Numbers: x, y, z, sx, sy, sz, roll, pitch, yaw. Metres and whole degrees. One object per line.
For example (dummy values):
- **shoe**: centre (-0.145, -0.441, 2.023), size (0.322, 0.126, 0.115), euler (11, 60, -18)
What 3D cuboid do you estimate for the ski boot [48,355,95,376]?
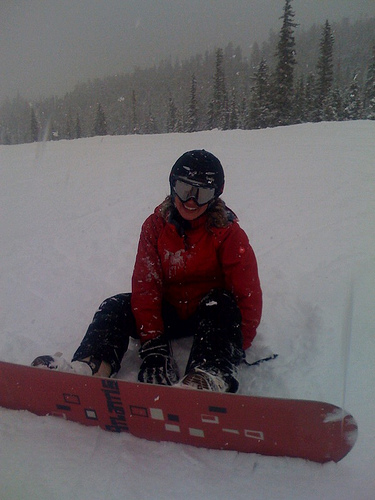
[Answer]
- **ski boot**: centre (-0.523, 0.552, 3.052), size (0.165, 0.082, 0.275), euler (-5, 2, -23)

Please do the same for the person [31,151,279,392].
- **person**: centre (-0.084, 0.086, 3.174), size (0.816, 1.129, 0.773), euler (2, 14, 19)

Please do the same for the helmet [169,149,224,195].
- **helmet**: centre (0.057, -0.407, 3.370), size (0.290, 0.292, 0.353), euler (8, 15, -7)
